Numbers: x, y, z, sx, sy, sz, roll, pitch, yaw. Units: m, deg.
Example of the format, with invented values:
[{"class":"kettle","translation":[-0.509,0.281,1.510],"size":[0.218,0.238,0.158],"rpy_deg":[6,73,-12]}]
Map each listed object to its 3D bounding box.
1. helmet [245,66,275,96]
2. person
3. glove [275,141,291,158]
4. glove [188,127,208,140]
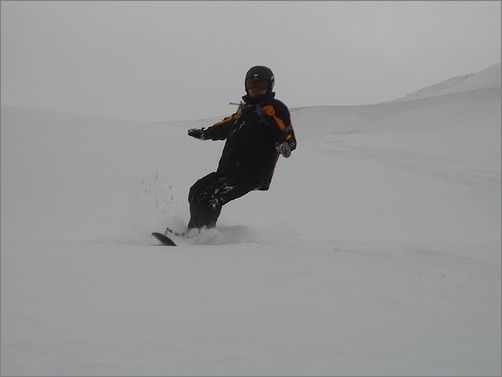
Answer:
[{"class":"helmet","translation":[0.069,-0.719,5.021],"size":[0.149,0.165,0.184],"rpy_deg":[5,8,10]},{"class":"person","translation":[-0.112,-0.191,4.934],"size":[0.466,0.926,0.789],"rpy_deg":[24,6,-43]},{"class":"glove","translation":[0.201,-0.242,4.777],"size":[0.075,0.096,0.040],"rpy_deg":[3,-4,25]},{"class":"glove","translation":[-0.347,-0.352,4.947],"size":[0.139,0.055,0.046],"rpy_deg":[12,15,3]}]
